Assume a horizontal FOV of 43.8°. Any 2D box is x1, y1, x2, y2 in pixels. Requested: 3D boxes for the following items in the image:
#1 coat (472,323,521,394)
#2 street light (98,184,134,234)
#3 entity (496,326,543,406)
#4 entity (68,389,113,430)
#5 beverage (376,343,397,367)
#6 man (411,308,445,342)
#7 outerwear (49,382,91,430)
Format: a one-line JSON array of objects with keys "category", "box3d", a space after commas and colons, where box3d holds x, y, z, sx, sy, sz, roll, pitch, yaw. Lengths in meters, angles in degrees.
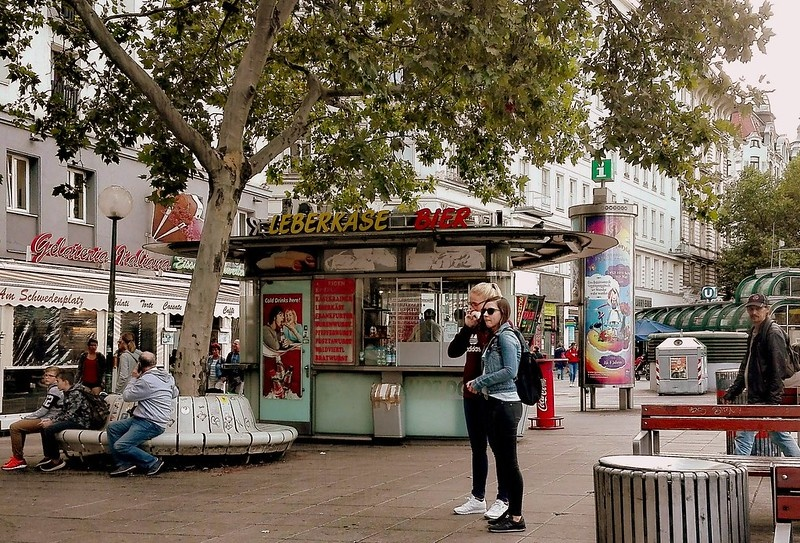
[{"category": "coat", "box3d": [1.292, 1.207, 12.830, 0.723, 0.970, 0.984, 2, -9, 5]}, {"category": "street light", "box3d": [-5.975, -1.439, 20.982, 0.783, 1.095, 0.777, 0, -10, -9]}, {"category": "entity", "box3d": [1.579, 1.198, 12.674, 0.534, 0.961, 0.669, -3, 9, -10]}, {"category": "entity", "box3d": [-5.166, 2.276, 16.550, 0.722, 0.694, 0.499, 0, -6, -20]}, {"category": "beverage", "box3d": [-0.231, 1.577, 19.053, 0.505, 0.492, 0.387, 1, -1, 11]}, {"category": "man", "box3d": [0.537, 1.027, 18.818, 0.552, 0.692, 0.386, 6, 7, 19]}, {"category": "outerwear", "box3d": [-5.421, 2.236, 16.536, 0.639, 0.716, 0.579, 1, -9, -3]}]
